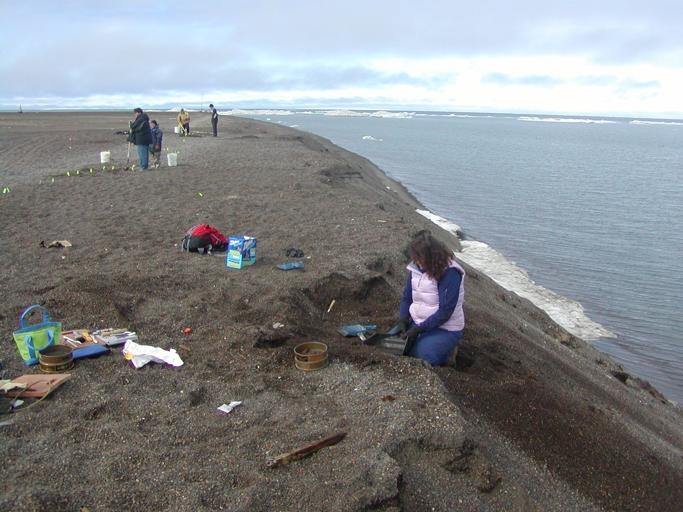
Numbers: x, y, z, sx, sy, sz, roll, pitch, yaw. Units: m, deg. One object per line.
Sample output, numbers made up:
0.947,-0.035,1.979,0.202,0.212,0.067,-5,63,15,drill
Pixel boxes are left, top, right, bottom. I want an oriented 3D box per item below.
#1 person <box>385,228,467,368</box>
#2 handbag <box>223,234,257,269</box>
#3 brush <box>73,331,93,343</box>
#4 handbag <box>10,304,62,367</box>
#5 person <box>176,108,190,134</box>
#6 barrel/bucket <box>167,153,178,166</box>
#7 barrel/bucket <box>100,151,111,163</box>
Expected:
1.176,0.632,6.953,0.899,1.773,0.961,15,29,32,person
-1.896,-0.092,9.246,0.361,0.524,0.651,7,6,11,handbag
-3.465,1.084,6.650,0.164,0.044,0.178,-9,30,-32,brush
-3.817,1.003,6.258,0.528,0.718,0.372,-13,21,-40,handbag
-9.025,-7.719,28.280,0.500,1.566,1.319,-10,26,-20,person
-6.104,-3.482,17.791,0.333,0.419,0.614,-10,26,-20,barrel/bucket
-8.472,-3.540,17.682,0.324,0.389,0.571,-14,27,-27,barrel/bucket
